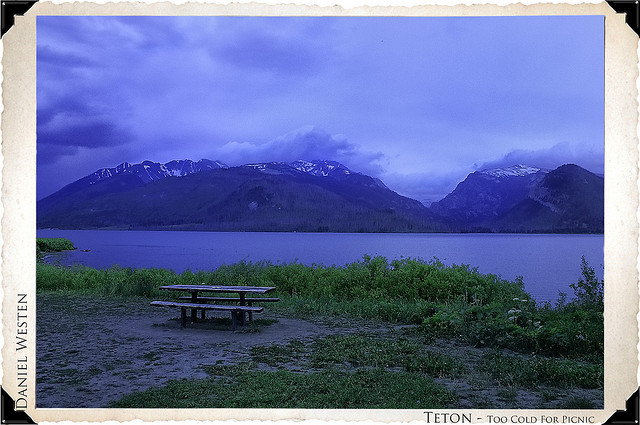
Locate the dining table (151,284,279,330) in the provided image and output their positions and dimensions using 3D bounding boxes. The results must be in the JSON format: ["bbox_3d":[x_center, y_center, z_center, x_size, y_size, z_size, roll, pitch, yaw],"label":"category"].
[{"bbox_3d":[-3.470,3.177,18.298,3.728,1.195,2.581,1,-5,1],"label":"dining table"}]
